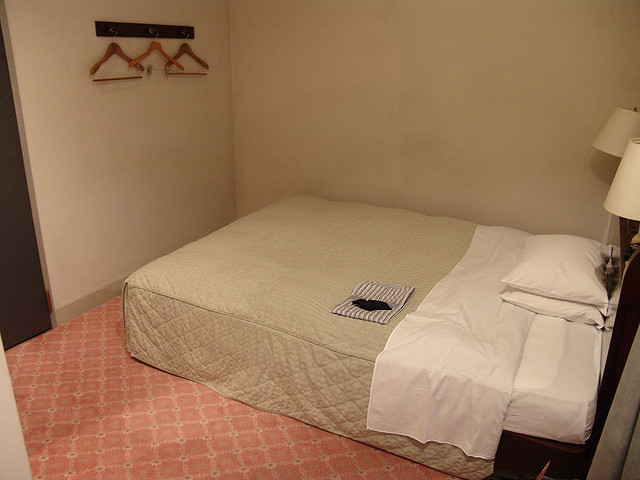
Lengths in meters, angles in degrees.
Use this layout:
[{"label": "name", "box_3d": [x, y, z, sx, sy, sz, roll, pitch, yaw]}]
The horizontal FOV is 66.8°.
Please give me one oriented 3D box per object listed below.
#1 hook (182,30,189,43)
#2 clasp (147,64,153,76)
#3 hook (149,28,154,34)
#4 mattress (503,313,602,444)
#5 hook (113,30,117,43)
[{"label": "hook", "box_3d": [-1.080, -1.630, 3.882, 0.046, 0.089, 0.080, -1, 22, -13]}, {"label": "clasp", "box_3d": [-1.295, -1.285, 3.674, 0.031, 0.080, 0.064, 0, 22, -9]}, {"label": "hook", "box_3d": [-1.258, -1.547, 3.601, 0.011, 0.034, 0.035, 14, 24, 23]}, {"label": "mattress", "box_3d": [1.231, 0.656, 2.527, 0.410, 0.200, 0.821, 7, 25, 32]}, {"label": "hook", "box_3d": [-1.440, -1.422, 3.379, 0.013, 0.073, 0.026, 23, 19, 36]}]
